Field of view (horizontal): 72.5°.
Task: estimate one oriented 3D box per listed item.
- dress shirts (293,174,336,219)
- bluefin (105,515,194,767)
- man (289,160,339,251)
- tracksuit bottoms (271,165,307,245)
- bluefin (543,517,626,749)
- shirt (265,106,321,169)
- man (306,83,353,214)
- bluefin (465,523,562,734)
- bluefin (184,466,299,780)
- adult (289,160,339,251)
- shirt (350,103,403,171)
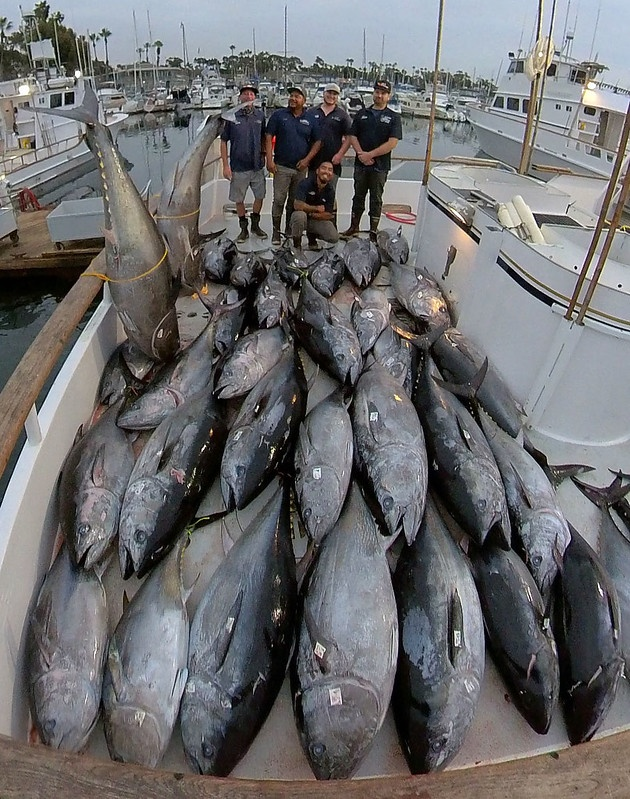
[{"bbox_3d":[-0.017,-2.458,5.264,0.473,0.696,0.411,-4,43,-13],"label":"dress shirts"},{"bbox_3d":[-0.630,0.986,1.894,0.274,0.242,0.998,-16,43,13],"label":"bluefin"},{"bbox_3d":[-0.017,-2.313,5.119,0.462,1.006,0.473,-17,45,-32],"label":"man"},{"bbox_3d":[-0.357,-2.577,5.501,0.326,1.110,0.300,-19,53,-31],"label":"tracksuit bottoms"},{"bbox_3d":[1.140,1.006,1.822,0.206,0.127,0.675,25,37,-10],"label":"bluefin"},{"bbox_3d":[-0.260,-3.116,5.125,0.546,0.911,0.409,0,30,-10],"label":"shirt"},{"bbox_3d":[0.127,-2.990,5.369,0.402,1.914,0.445,7,5,1],"label":"man"},{"bbox_3d":[0.861,0.921,1.918,0.221,0.289,0.792,32,35,-23],"label":"bluefin"},{"bbox_3d":[-0.253,0.781,1.988,0.392,0.280,1.410,-14,45,18],"label":"bluefin"},{"bbox_3d":[-0.023,-2.317,5.145,0.428,0.975,0.439,-8,34,-29],"label":"adult"},{"bbox_3d":[0.727,-3.080,5.113,0.597,0.650,0.447,6,30,4],"label":"shirt"}]
